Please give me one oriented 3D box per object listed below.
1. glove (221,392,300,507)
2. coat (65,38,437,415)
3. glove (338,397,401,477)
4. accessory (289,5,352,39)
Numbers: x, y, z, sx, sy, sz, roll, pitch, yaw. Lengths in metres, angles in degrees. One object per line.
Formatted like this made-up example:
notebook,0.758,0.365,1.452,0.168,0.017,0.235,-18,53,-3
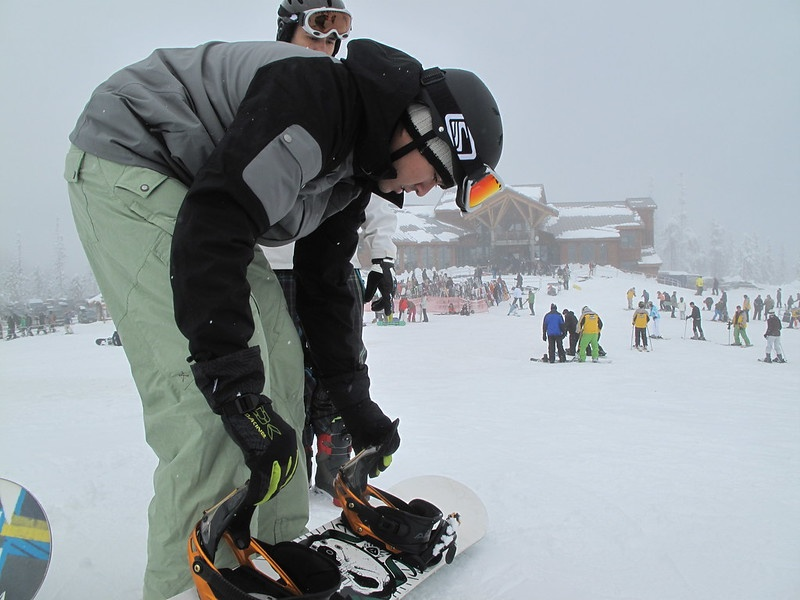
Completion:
glove,-0.479,0.502,2.096,0.125,0.340,0.247,-22,16,42
coat,-0.582,-0.398,2.513,1.111,1.325,0.981,13,-2,29
glove,-0.105,0.610,2.734,0.140,0.329,0.461,-6,42,14
accessory,-0.423,-1.564,3.616,0.245,0.136,0.290,-12,27,-36
